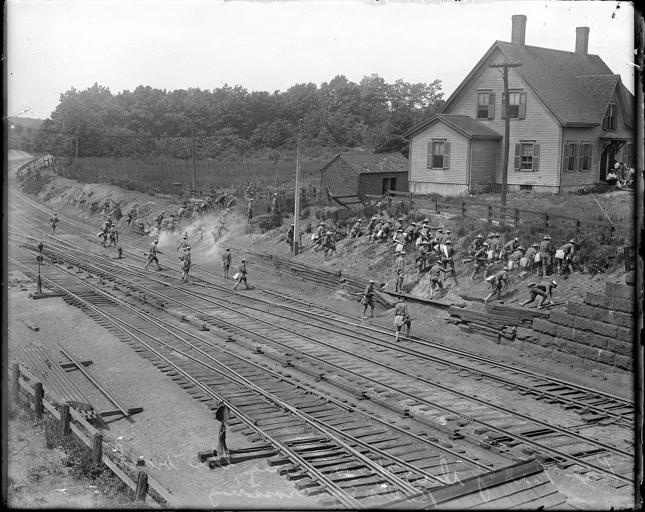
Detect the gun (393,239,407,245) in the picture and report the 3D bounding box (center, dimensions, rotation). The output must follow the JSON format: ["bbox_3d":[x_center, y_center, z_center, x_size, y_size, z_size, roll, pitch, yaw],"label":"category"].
[{"bbox_3d":[4.499,-0.798,32.778,0.484,0.394,0.693,2,7,2],"label":"gun"}]
